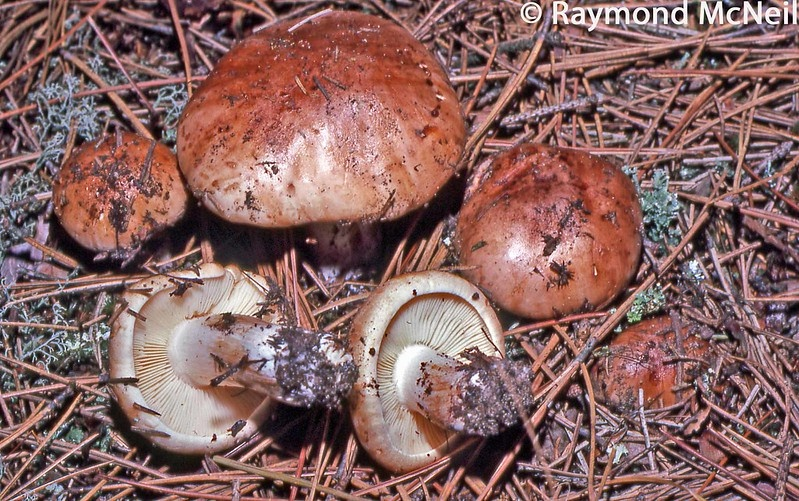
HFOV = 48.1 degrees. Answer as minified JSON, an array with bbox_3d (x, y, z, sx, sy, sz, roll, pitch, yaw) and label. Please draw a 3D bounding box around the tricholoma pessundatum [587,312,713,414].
[{"bbox_3d":[1.852,0.881,6.712,0.858,0.173,0.656,-27,79,-5],"label":"tricholoma pessundatum"}]
